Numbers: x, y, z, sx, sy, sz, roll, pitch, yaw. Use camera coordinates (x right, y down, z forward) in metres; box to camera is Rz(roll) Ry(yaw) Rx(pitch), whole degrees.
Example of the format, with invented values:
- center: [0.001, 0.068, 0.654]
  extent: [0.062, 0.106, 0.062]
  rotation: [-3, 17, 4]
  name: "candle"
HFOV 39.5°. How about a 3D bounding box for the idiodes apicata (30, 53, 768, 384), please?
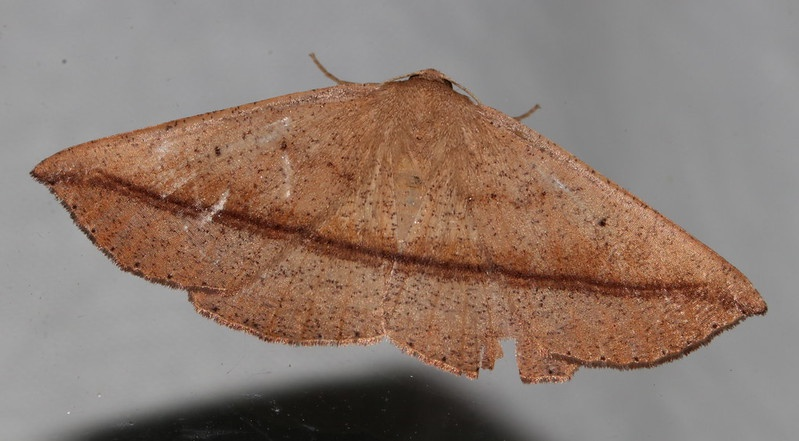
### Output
- center: [-0.164, 0.378, 13.008]
  extent: [8.172, 3.570, 1.443]
  rotation: [8, 11, -3]
  name: "idiodes apicata"
